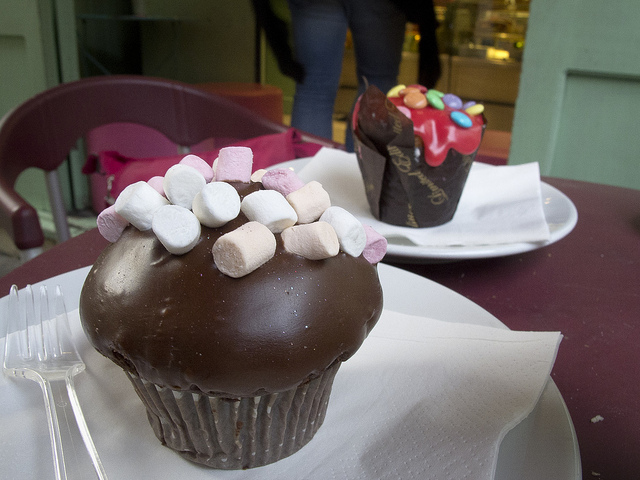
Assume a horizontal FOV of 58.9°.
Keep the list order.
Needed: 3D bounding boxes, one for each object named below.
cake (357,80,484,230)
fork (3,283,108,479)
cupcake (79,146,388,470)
[{"bbox_3d":[0.234,-0.232,1.354,0.287,0.339,0.283,13,27,31],"label":"cake"},{"bbox_3d":[-0.427,0.113,0.895,0.094,0.082,0.543,0,29,-27],"label":"fork"},{"bbox_3d":[-0.124,0.095,0.805,0.411,0.416,0.233,10,22,11],"label":"cupcake"}]
